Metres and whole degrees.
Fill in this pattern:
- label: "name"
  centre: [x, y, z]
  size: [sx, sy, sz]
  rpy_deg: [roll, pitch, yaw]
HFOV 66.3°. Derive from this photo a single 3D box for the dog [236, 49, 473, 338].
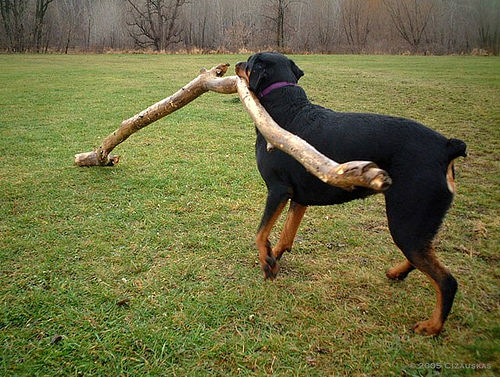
- label: "dog"
  centre: [1.055, -0.116, 4.121]
  size: [2.334, 2.668, 1.827]
  rpy_deg: [8, 16, 29]
